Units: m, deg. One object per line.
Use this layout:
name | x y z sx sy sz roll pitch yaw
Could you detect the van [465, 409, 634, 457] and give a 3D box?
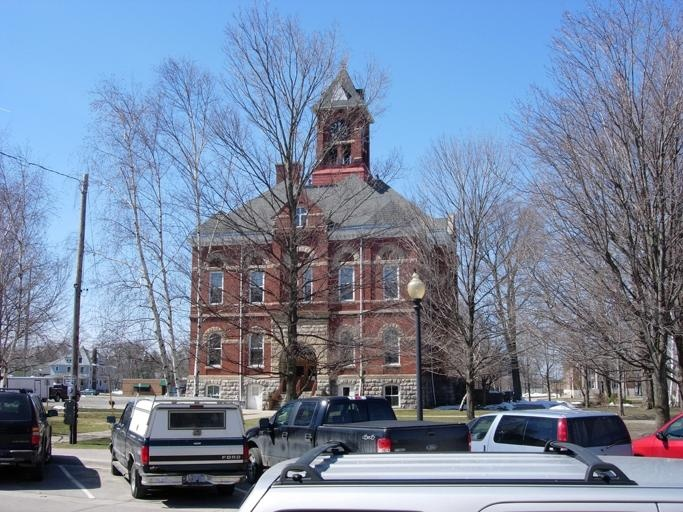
van | 4.235 3.604 17.389 1.659 1.162 2.379 6 -7 -37
